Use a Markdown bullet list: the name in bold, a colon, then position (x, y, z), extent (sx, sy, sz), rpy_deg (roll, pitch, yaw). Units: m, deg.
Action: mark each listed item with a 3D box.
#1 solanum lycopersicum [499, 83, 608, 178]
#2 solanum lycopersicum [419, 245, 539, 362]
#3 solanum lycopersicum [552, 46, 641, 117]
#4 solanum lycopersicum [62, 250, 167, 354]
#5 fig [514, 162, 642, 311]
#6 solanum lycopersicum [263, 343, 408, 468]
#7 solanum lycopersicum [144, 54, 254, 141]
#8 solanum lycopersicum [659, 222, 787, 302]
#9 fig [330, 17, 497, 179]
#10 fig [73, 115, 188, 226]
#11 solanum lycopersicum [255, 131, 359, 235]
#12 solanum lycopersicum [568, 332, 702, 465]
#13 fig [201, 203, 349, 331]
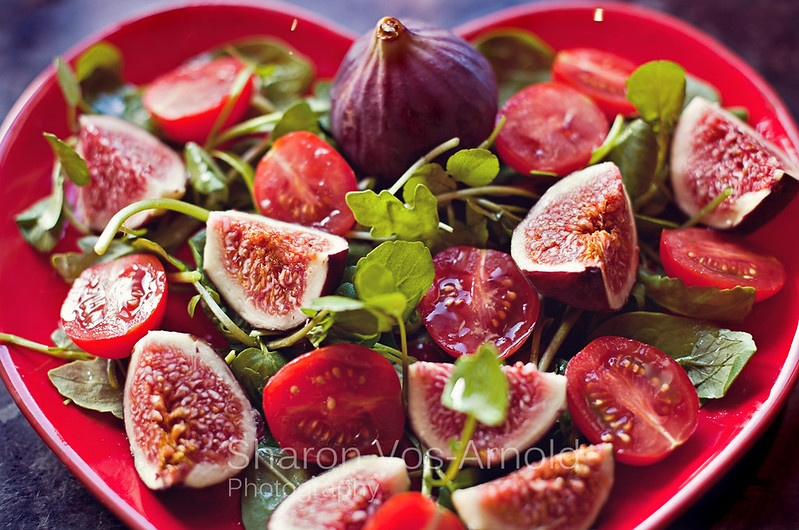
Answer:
- **solanum lycopersicum**: position (0.342, -0.301, 1.816), extent (0.237, 0.074, 0.228), rpy_deg (15, 66, 11)
- **solanum lycopersicum**: position (0.162, 0.093, 1.671), extent (0.237, 0.086, 0.273), rpy_deg (-14, 48, -11)
- **solanum lycopersicum**: position (0.528, -0.459, 1.972), extent (0.072, 0.211, 0.173), rpy_deg (45, 114, 22)
- **solanum lycopersicum**: position (-0.599, 0.088, 1.709), extent (0.229, 0.051, 0.212), rpy_deg (-15, 64, -3)
- **fig**: position (0.367, -0.043, 1.695), extent (0.250, 0.175, 0.373), rpy_deg (6, 41, 24)
- **solanum lycopersicum**: position (-0.127, 0.278, 1.585), extent (0.259, 0.121, 0.197), rpy_deg (-11, 63, -1)
- **solanum lycopersicum**: position (-0.471, -0.411, 1.925), extent (0.206, 0.123, 0.206), rpy_deg (-38, 39, -5)
- **solanum lycopersicum**: position (0.681, -0.005, 1.716), extent (0.266, 0.082, 0.160), rpy_deg (18, 66, 13)
- **fig**: position (0.043, -0.367, 1.780), extent (0.323, 0.235, 0.341), rpy_deg (8, 81, 19)
- **fig**: position (-0.608, -0.204, 1.824), extent (0.258, 0.124, 0.263), rpy_deg (9, 65, 8)
- **solanum lycopersicum**: position (-0.188, -0.173, 1.826), extent (0.244, 0.282, 0.094), rpy_deg (-30, 86, 19)
- **solanum lycopersicum**: position (0.457, 0.268, 1.611), extent (0.231, 0.075, 0.256), rpy_deg (-35, 67, -13)
- **fig**: position (-0.270, 0.005, 1.660), extent (0.300, 0.100, 0.226), rpy_deg (20, 67, 13)
